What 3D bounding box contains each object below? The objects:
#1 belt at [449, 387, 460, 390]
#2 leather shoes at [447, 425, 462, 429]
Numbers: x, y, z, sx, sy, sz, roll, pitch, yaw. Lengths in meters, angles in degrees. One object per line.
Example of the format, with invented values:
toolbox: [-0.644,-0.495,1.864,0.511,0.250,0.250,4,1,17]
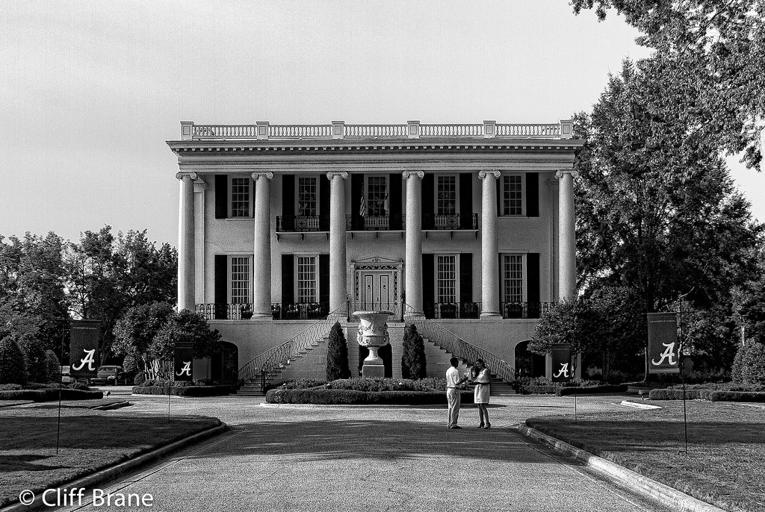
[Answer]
belt: [2.313,4.309,32.108,0.293,0.073,0.095,-1,-7,3]
leather shoes: [2.368,5.558,32.104,0.429,0.182,0.163,0,-2,2]
